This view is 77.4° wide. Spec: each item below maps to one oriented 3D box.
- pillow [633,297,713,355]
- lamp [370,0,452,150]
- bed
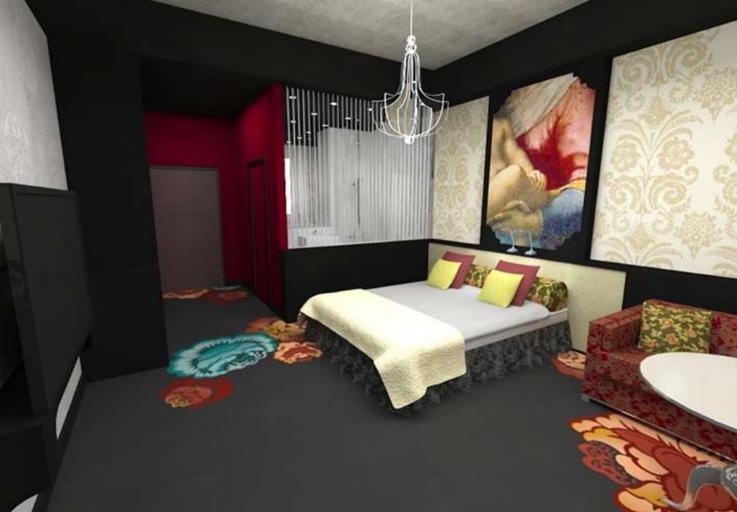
[{"bbox_3d":[2.850,0.676,4.275,0.458,0.488,0.147,2,-27,26],"label":"pillow"},{"bbox_3d":[0.428,-2.017,5.498,1.042,1.446,2.529,0,9,10],"label":"lamp"},{"bbox_3d":[0.673,0.858,5.336,2.295,0.823,1.871,-7,11,-30],"label":"bed"}]
